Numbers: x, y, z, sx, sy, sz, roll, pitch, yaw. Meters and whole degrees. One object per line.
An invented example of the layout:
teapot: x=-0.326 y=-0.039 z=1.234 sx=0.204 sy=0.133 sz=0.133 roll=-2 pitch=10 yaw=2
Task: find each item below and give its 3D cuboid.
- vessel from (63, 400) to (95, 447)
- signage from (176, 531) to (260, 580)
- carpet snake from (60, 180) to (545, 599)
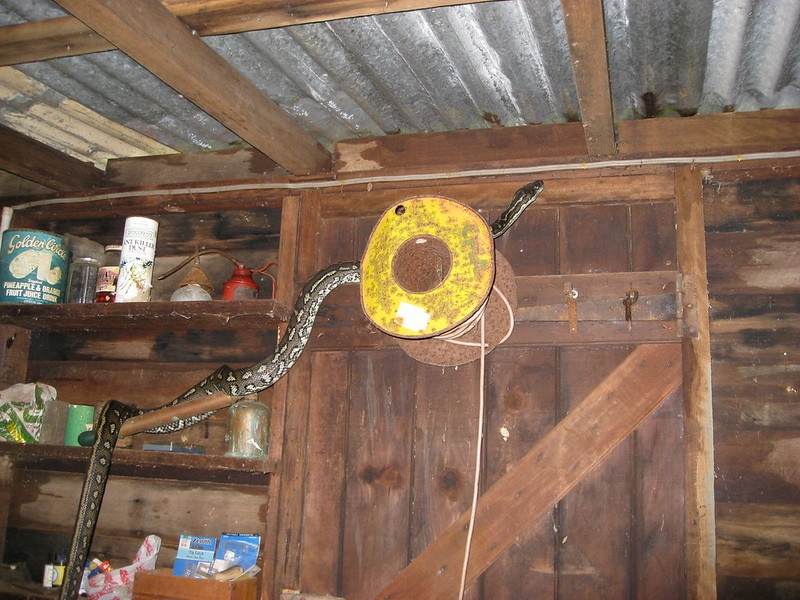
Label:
vessel: x=-2.242 y=0.869 z=4.884 sx=0.184 sy=0.276 sz=0.173 roll=-14 pitch=-33 yaw=25
signage: x=-1.194 y=1.639 z=4.544 sx=0.552 sy=0.245 sz=0.325 roll=-3 pitch=-7 yaw=34
carpet snake: x=-0.877 y=0.388 z=5.048 sx=4.125 sy=1.736 sz=0.470 roll=-37 pitch=-4 yaw=4
